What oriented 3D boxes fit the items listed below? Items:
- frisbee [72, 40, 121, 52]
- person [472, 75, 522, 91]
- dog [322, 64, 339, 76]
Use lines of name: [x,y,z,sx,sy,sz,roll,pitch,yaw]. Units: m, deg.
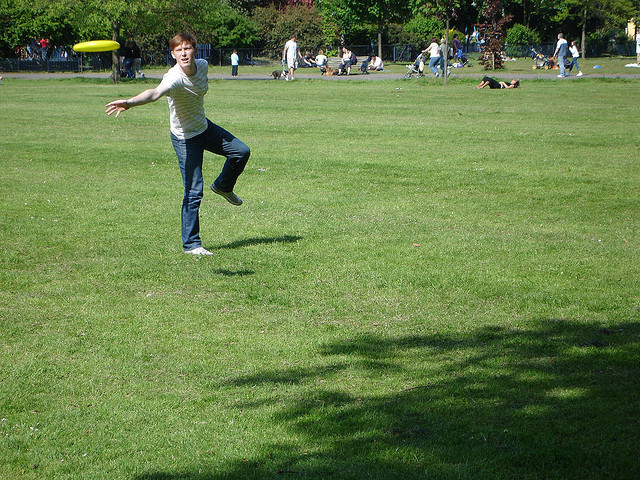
frisbee: [-3.410,-2.951,14.312,0.372,0.090,0.400,-2,6,18]
person: [6.282,-5.672,34.071,1.443,0.474,1.806,8,12,37]
dog: [0.596,-8.937,49.885,0.478,0.734,1.413,5,12,31]
